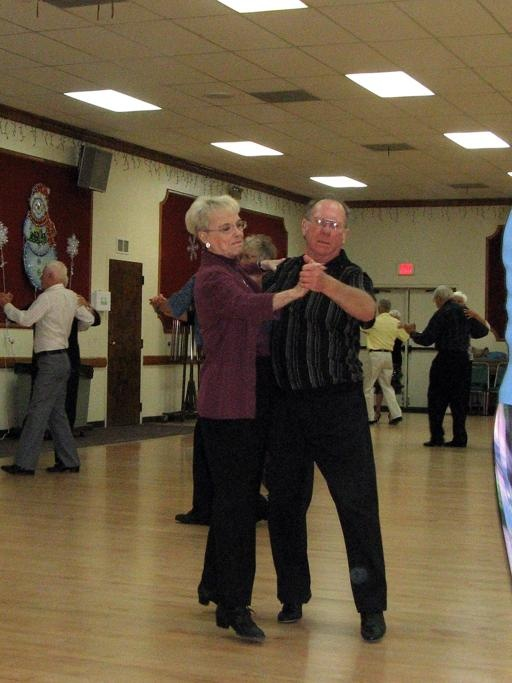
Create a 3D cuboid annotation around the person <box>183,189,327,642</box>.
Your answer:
[{"bbox_3d":[-0.090,0.319,2.402,0.393,1.953,0.629,3,-3,-22],"label":"person"}]

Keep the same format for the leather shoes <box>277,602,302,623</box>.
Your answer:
[{"bbox_3d":[0.159,1.252,2.610,0.055,0.095,0.150,-3,-18,15],"label":"leather shoes"}]

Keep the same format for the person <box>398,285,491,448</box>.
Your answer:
[{"bbox_3d":[2.818,0.376,8.233,0.992,2.330,0.935,0,-3,22],"label":"person"}]

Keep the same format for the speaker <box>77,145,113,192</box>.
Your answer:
[{"bbox_3d":[-2.769,-2.842,9.319,0.364,0.623,0.710,19,13,18],"label":"speaker"}]

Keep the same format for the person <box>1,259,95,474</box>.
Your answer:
[{"bbox_3d":[-2.303,0.254,6.150,0.821,2.332,0.435,2,-3,-16],"label":"person"}]
